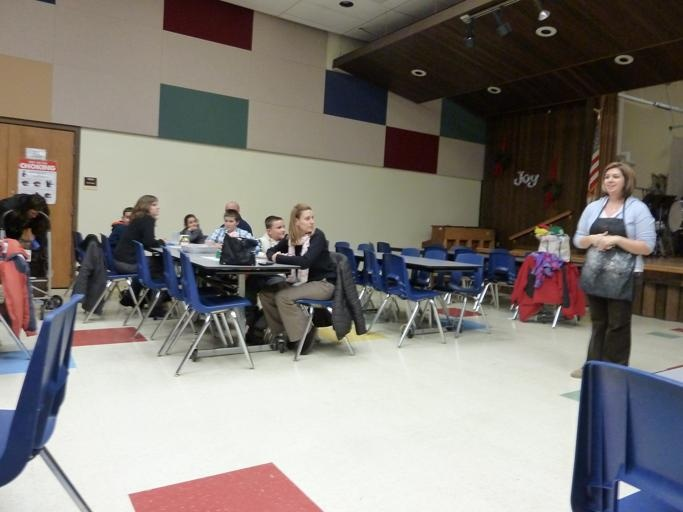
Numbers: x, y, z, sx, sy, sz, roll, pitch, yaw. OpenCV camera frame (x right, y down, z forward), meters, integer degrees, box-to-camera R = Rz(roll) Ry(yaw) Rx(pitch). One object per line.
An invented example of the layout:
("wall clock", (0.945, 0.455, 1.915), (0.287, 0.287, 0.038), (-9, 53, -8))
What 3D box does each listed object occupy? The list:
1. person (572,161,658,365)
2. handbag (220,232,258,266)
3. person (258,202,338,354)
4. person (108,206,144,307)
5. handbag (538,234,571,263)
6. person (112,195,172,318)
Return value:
("person", (2.152, 0.071, 3.995), (0.560, 1.618, 0.361), (6, 8, 31))
("handbag", (-0.875, -0.043, 4.389), (0.350, 0.289, 0.153), (1, -3, 17))
("person", (-0.415, 0.223, 4.794), (0.769, 1.417, 0.490), (3, 6, 9))
("person", (-2.774, -0.169, 6.317), (0.255, 0.986, 0.321), (20, 23, 14))
("handbag", (2.891, -0.112, 6.792), (0.442, 0.432, 0.301), (2, 3, 43))
("person", (-2.366, -0.024, 6.045), (0.726, 1.409, 0.571), (2, 8, -35))
